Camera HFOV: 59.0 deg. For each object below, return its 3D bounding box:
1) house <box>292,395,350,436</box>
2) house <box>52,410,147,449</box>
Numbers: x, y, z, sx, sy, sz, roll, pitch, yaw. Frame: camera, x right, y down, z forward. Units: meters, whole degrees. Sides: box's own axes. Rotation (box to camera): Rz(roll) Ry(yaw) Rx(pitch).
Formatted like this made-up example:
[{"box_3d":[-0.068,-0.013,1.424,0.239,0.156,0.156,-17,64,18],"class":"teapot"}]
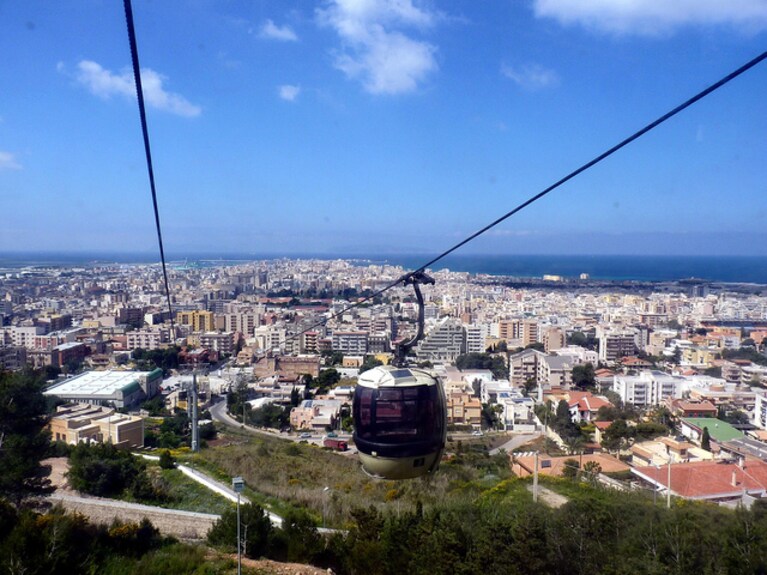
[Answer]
[{"box_3d":[-1.437,2.833,15.050,1.119,0.409,1.338,1,6,21],"class":"house"},{"box_3d":[-4.821,2.348,11.324,1.444,0.542,1.087,1,1,19],"class":"house"}]
